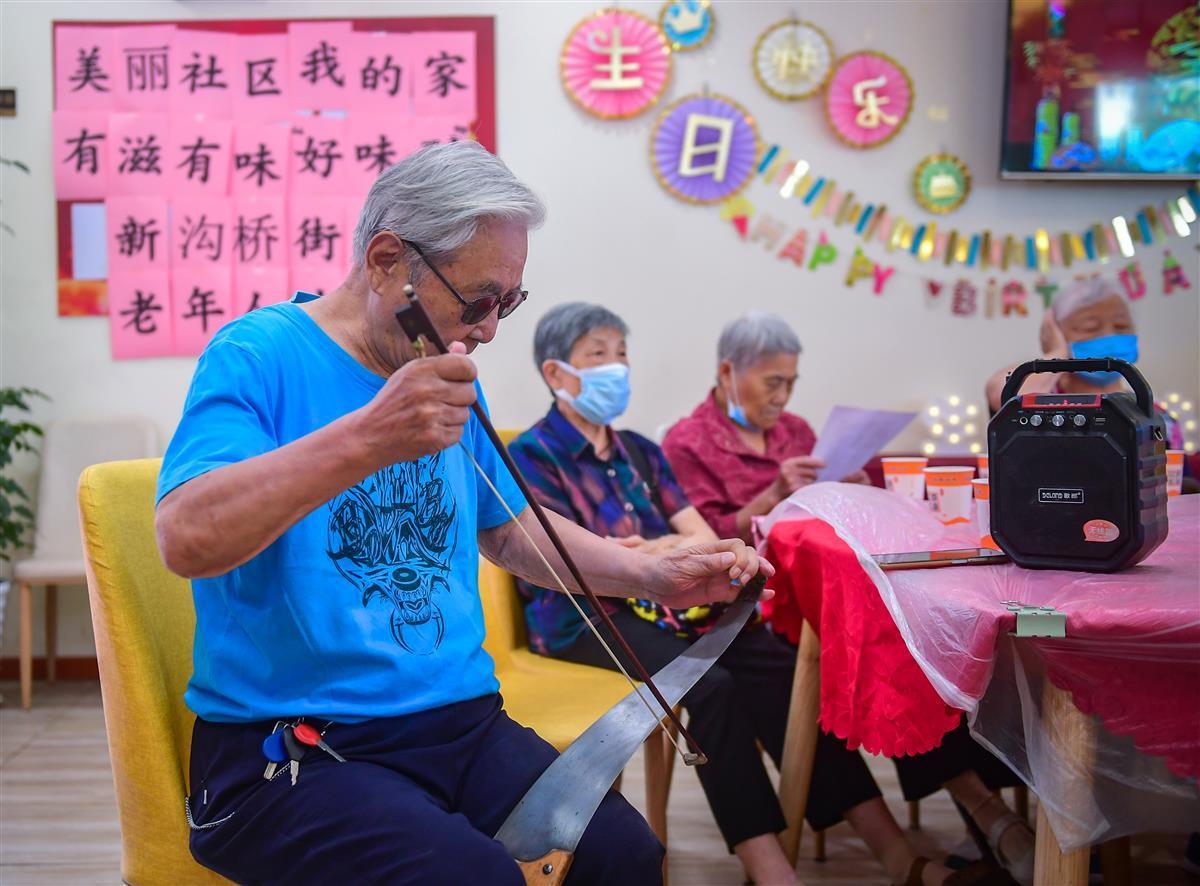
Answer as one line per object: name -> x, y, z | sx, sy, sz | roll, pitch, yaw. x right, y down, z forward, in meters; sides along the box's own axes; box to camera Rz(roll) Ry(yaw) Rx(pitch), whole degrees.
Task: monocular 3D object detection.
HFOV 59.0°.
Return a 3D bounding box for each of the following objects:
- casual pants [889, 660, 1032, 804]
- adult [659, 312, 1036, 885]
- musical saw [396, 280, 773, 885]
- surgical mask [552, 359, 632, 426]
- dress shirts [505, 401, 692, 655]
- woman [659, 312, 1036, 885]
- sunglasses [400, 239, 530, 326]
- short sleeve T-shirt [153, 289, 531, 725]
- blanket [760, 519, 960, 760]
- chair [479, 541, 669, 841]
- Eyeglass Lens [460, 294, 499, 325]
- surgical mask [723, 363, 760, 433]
casual pants -> 0.862, 0.694, 2.553 | 0.298, 0.244, 0.110 | 6, 37, 13
adult -> 0.915, 0.313, 3.332 | 1.092, 1.748, 1.155 | 1, 4, 33
musical saw -> -0.155, 0.291, 1.841 | 0.399, 1.232, 0.045 | -34, -11, 6
surgical mask -> -0.007, -0.133, 2.806 | 0.154, 0.122, 0.145 | -1, -2, 33
dress shirts -> -0.007, 0.208, 2.421 | 0.293, 0.580, 0.465 | -28, -21, 34
woman -> 0.938, 0.282, 3.246 | 1.092, 1.748, 1.155 | 1, 4, 33
sunglasses -> -0.212, -0.290, 1.792 | 0.045, 0.153, 0.143 | -36, -14, 14
short sleeve T-shirt -> -0.427, 0.136, 1.793 | 0.384, 0.687, 0.723 | -14, -18, 39
blanket -> 0.482, 0.379, 2.019 | 0.295, 0.551, 0.129 | -12, -14, -8
chair -> -0.069, 0.422, 2.504 | 0.301, 0.460, 0.261 | -34, -11, 17
Eyeglass Lens -> -0.201, -0.223, 1.769 | 0.045, 0.023, 0.049 | 1, 23, 28
surgical mask -> 0.407, -0.135, 2.991 | 0.062, 0.162, 0.109 | -4, 1, 19
